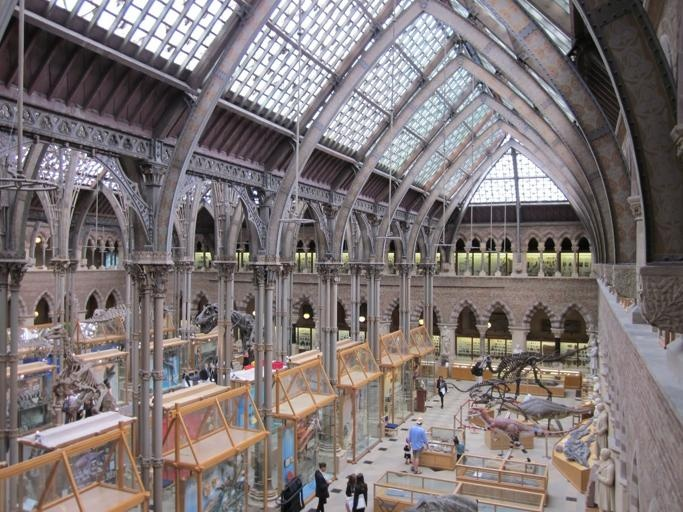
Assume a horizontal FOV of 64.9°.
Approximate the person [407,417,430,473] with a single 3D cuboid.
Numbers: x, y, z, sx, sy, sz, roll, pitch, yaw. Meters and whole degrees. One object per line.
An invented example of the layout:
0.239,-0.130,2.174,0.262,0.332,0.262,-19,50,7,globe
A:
2.945,7.298,20.772,0.639,2.022,0.546,5,3,43,person
